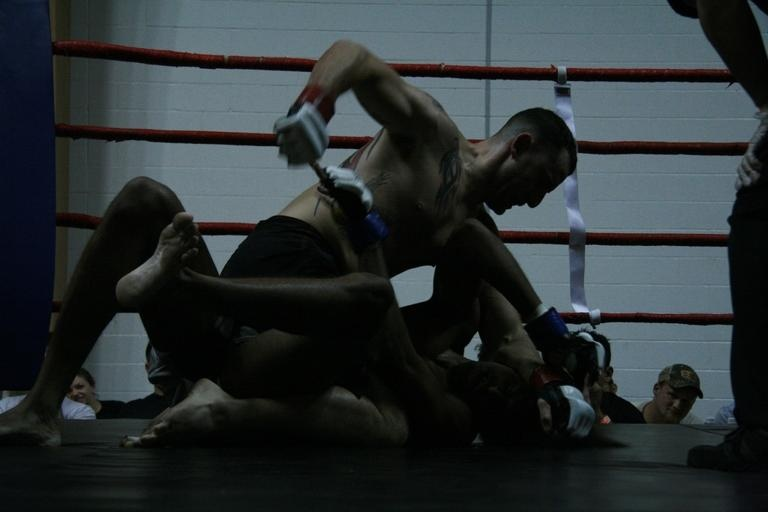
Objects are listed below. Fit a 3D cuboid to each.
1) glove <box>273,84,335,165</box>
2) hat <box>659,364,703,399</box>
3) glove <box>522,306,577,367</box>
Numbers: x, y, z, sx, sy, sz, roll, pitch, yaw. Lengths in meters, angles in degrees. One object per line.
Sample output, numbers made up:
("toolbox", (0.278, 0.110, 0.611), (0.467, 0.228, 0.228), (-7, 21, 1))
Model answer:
("glove", (-0.292, -0.467, 3.605), (0.207, 0.217, 0.101), (5, -2, -8))
("hat", (1.596, 0.641, 5.393), (0.156, 0.129, 0.226), (17, -20, -6))
("glove", (0.661, 0.307, 4.031), (0.147, 0.247, 0.103), (-30, 3, 7))
